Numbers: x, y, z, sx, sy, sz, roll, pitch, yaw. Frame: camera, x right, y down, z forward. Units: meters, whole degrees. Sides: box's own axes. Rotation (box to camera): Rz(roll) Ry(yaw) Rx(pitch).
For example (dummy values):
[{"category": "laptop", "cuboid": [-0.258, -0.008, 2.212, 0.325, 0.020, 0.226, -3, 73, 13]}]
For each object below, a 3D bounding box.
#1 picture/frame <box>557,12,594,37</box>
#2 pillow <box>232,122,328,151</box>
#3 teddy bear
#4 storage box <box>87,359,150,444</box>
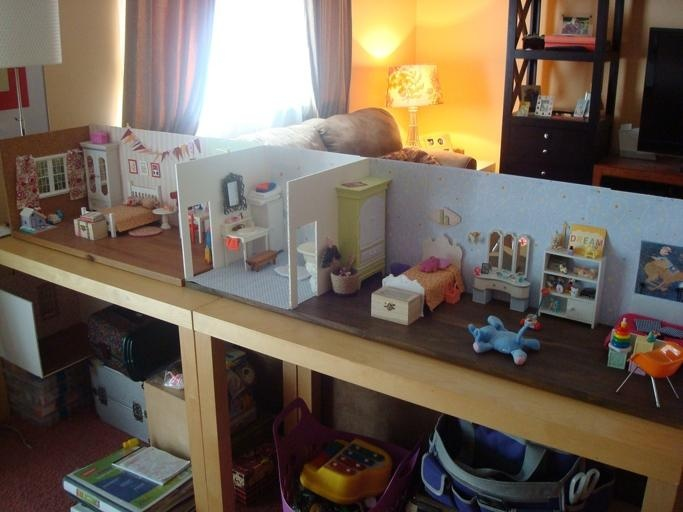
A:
[{"category": "picture/frame", "cuboid": [1.732, -1.697, 4.043, 0.243, 0.147, 0.344, 6, 22, 21]}, {"category": "pillow", "cuboid": [-0.339, -0.691, 3.184, 0.334, 0.097, 0.385, 15, 35, 24]}, {"category": "teddy bear", "cuboid": [0.455, 0.232, 1.526, 0.123, 0.061, 0.135, -8, 26, -19]}, {"category": "storage box", "cuboid": [-1.022, 0.667, 2.538, 0.298, 0.234, 0.202, 20, 33, 28]}]
